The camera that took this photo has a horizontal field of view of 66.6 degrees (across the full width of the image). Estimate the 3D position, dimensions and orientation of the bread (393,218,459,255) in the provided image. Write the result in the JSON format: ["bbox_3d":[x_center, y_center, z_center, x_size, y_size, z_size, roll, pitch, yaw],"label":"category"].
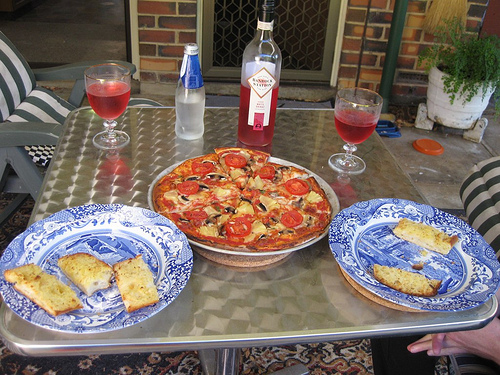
[{"bbox_3d":[0.430,0.109,0.927,0.137,0.035,0.088,24,39,28],"label":"bread"}]

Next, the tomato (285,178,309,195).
[{"bbox_3d":[0.131,-0.002,1.006,0.041,0.013,0.043,14,44,9],"label":"tomato"}]

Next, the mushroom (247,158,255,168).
[{"bbox_3d":[0.003,-0.072,1.102,0.024,0.007,0.043,14,35,15],"label":"mushroom"}]

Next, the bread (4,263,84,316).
[{"bbox_3d":[-0.373,0.188,0.698,0.139,0.028,0.073,35,29,16],"label":"bread"}]

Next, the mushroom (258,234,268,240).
[{"bbox_3d":[0.029,0.110,0.861,0.025,0.004,0.013,-13,37,-23],"label":"mushroom"}]

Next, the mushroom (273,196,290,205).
[{"bbox_3d":[0.087,0.029,0.975,0.029,0.007,0.018,27,45,23],"label":"mushroom"}]

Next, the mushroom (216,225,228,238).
[{"bbox_3d":[-0.065,0.099,0.863,0.019,0.006,0.025,-15,44,-11],"label":"mushroom"}]

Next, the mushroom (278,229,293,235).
[{"bbox_3d":[0.084,0.101,0.884,0.021,0.006,0.013,-2,29,-33],"label":"mushroom"}]

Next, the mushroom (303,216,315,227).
[{"bbox_3d":[0.145,0.081,0.917,0.018,0.005,0.020,-31,53,-29],"label":"mushroom"}]

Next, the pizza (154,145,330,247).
[{"bbox_3d":[-0.006,0.017,0.982,0.432,0.070,0.459,-6,34,-11],"label":"pizza"}]

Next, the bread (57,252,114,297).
[{"bbox_3d":[-0.334,0.164,0.771,0.115,0.039,0.079,32,31,31],"label":"bread"}]

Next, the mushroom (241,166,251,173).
[{"bbox_3d":[-0.009,-0.054,1.083,0.018,0.006,0.029,-16,38,-26],"label":"mushroom"}]

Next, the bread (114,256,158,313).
[{"bbox_3d":[-0.225,0.185,0.743,0.070,0.025,0.123,-8,38,-24],"label":"bread"}]

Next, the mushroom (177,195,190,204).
[{"bbox_3d":[-0.162,0.029,0.928,0.019,0.006,0.019,18,29,-43],"label":"mushroom"}]

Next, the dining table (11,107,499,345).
[{"bbox_3d":[-0.032,-0.030,0.997,1.092,0.242,0.822,-1,34,-6],"label":"dining table"}]

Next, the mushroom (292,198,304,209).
[{"bbox_3d":[0.124,0.039,0.968,0.020,0.007,0.020,25,48,25],"label":"mushroom"}]
